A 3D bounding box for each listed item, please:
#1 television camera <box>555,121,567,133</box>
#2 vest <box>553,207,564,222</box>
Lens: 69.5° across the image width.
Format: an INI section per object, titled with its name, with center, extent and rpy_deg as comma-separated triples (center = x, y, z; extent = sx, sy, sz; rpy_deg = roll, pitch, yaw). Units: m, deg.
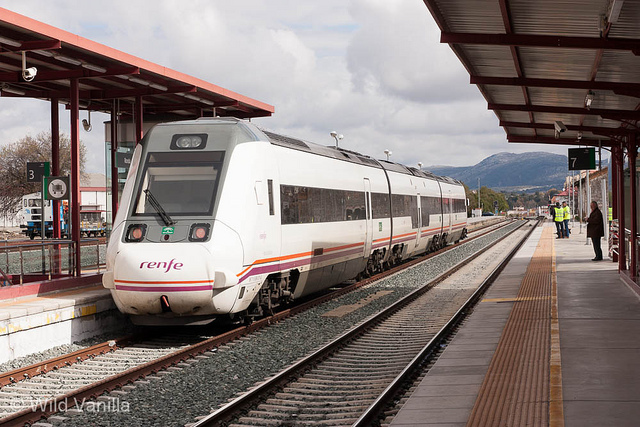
[television camera]
center = 8.834, -3.289, 17.025
extent = 0.318, 0.440, 0.654
rpy_deg = -3, -2, 27
[vest]
center = 17.632, 0.035, 34.154
extent = 0.530, 1.013, 1.796
rpy_deg = -3, -2, 28
